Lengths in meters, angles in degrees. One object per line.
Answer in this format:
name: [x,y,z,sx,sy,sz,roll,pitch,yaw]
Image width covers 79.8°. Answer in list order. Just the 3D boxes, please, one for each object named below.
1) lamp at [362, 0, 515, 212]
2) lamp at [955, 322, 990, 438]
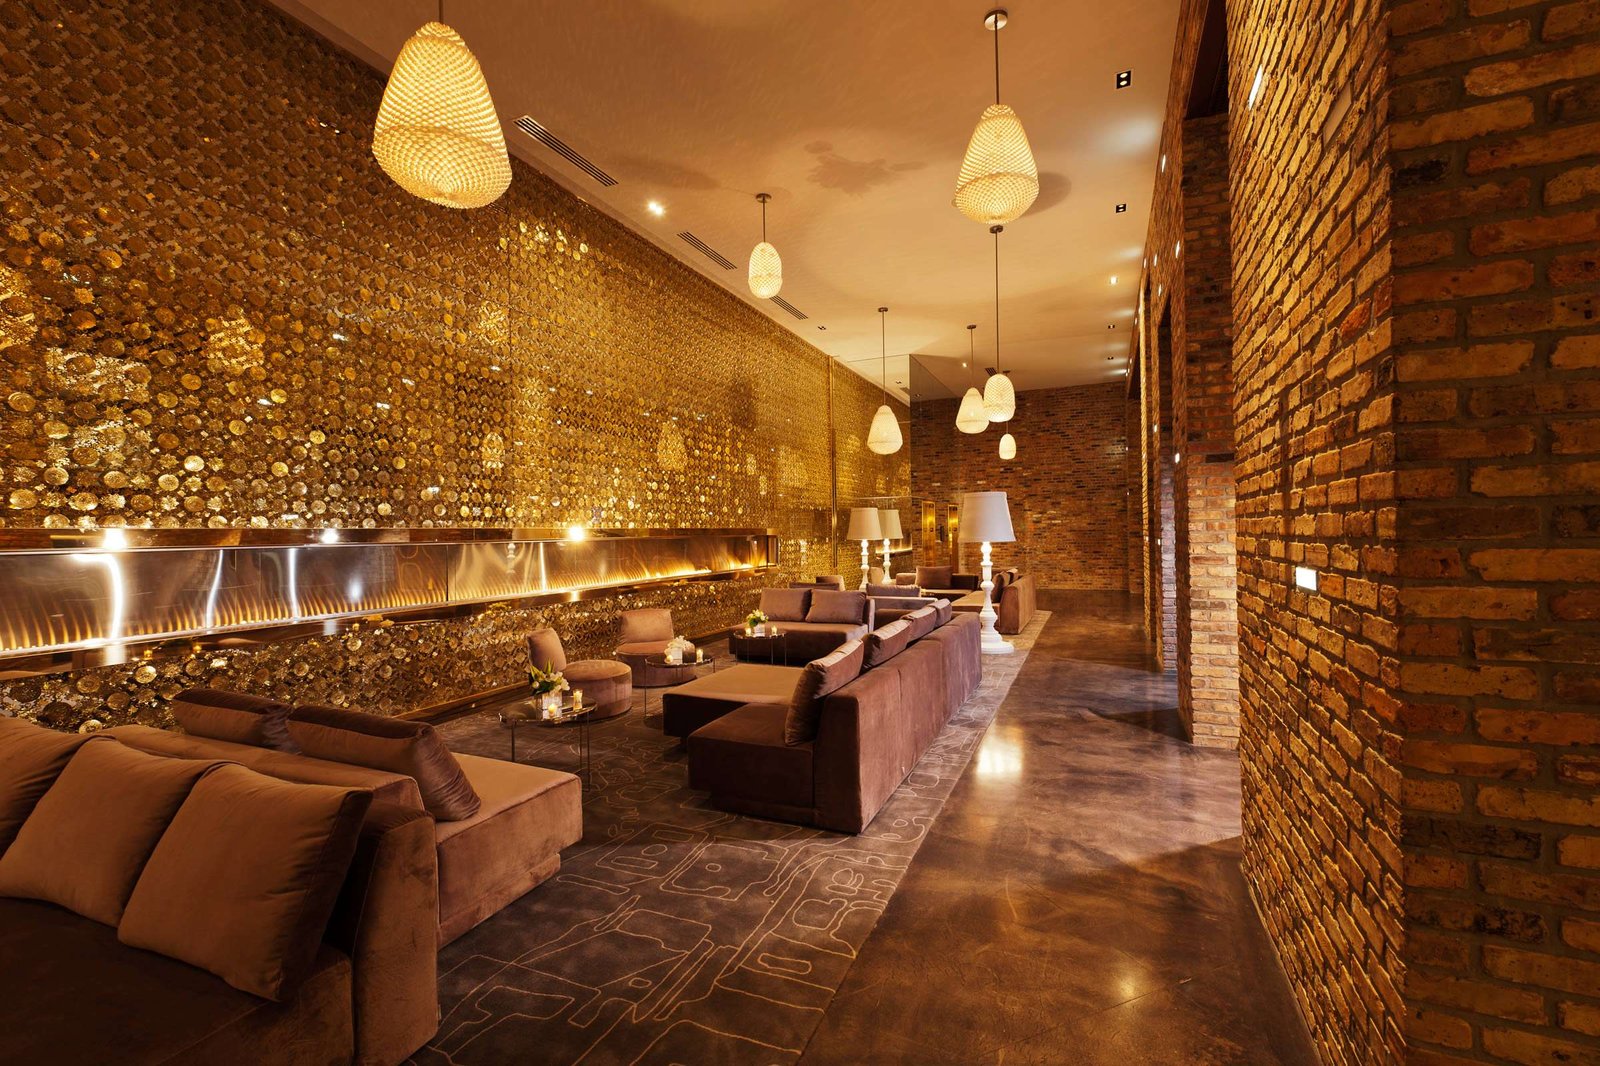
lamp: [-1.803,-2.174,4.821,0.618,0.882,0.383,-1,-2,-24]
lamp: [1.873,-1.708,10.417,0.305,1.059,0.298,0,7,11]
